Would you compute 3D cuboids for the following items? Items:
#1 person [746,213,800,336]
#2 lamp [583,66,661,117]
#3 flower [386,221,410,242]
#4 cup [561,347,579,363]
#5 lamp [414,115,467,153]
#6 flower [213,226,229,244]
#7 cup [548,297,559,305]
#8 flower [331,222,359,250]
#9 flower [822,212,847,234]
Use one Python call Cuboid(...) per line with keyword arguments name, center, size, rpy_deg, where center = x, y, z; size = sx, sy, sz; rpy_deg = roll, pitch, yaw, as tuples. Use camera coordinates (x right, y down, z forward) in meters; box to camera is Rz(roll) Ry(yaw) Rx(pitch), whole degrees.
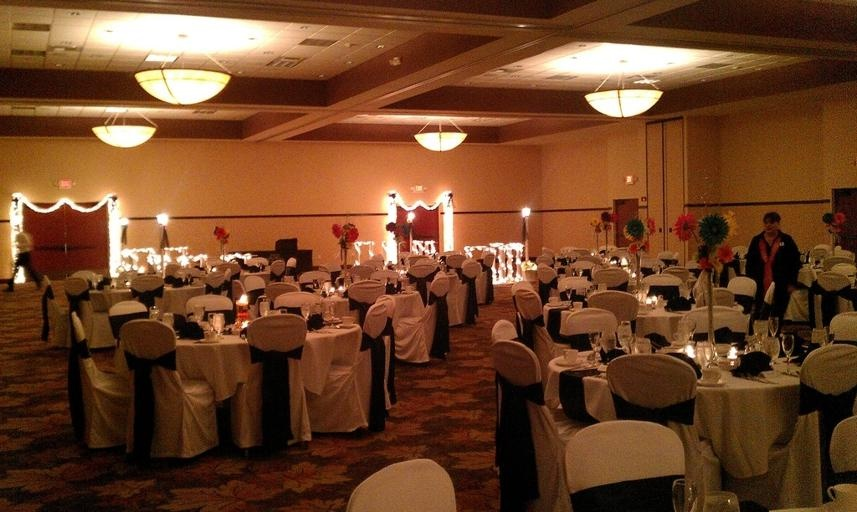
Cuboid(name="person", center=(5.767, 0.469, 10.656), size=(0.811, 2.283, 0.639), rpy_deg=(2, 21, 31))
Cuboid(name="lamp", center=(4.189, -3.621, 13.738), size=(1.525, 1.026, 1.615), rpy_deg=(0, -1, -9))
Cuboid(name="flower", center=(-0.675, -0.584, 14.723), size=(0.672, 0.279, 0.664), rpy_deg=(1, -2, -2))
Cuboid(name="cup", center=(1.536, 1.094, 6.861), size=(0.129, 0.122, 0.153), rpy_deg=(3, -10, -11))
Cuboid(name="lamp", center=(0.347, -3.572, 17.805), size=(1.308, 1.015, 1.455), rpy_deg=(1, 0, 2))
Cuboid(name="flower", center=(-5.719, -0.584, 17.510), size=(0.170, 0.538, 0.562), rpy_deg=(-15, -10, 43))
Cuboid(name="cup", center=(1.949, 0.712, 9.763), size=(0.103, 0.083, 0.119), rpy_deg=(-1, -3, -11))
Cuboid(name="flower", center=(-1.642, -0.404, 12.726), size=(0.707, 0.693, 0.694), rpy_deg=(0, 2, -5))
Cuboid(name="flower", center=(9.266, -0.743, 14.433), size=(0.430, 0.401, 0.423), rpy_deg=(-2, -19, 8))
